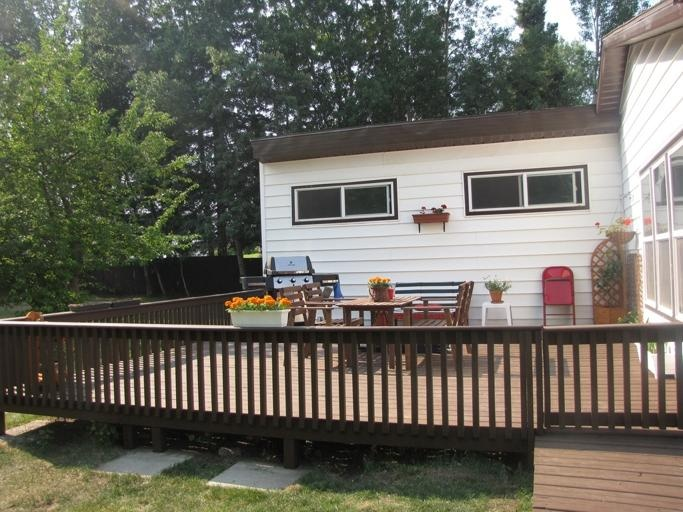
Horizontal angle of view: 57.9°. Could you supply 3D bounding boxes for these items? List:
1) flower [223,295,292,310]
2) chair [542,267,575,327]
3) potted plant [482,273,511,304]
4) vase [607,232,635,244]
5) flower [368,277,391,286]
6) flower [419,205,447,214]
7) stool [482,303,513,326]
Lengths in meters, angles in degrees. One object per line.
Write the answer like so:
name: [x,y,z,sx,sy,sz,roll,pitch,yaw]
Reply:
flower: [-0.918,0.538,6.990,0.452,0.159,0.371,1,-2,7]
chair: [3.711,0.666,10.572,0.538,1.004,0.496,-1,-2,21]
potted plant: [2.693,0.562,10.637,0.402,0.509,0.434,0,-2,-1]
vase: [4.404,-0.302,9.716,0.274,0.176,0.702,-1,-3,11]
flower: [0.522,0.352,8.624,0.190,0.101,0.203,0,-2,17]
flower: [1.671,-0.853,11.197,0.479,0.185,0.215,-1,-3,6]
stool: [2.664,0.938,10.677,0.520,0.472,0.556,-2,-6,9]
